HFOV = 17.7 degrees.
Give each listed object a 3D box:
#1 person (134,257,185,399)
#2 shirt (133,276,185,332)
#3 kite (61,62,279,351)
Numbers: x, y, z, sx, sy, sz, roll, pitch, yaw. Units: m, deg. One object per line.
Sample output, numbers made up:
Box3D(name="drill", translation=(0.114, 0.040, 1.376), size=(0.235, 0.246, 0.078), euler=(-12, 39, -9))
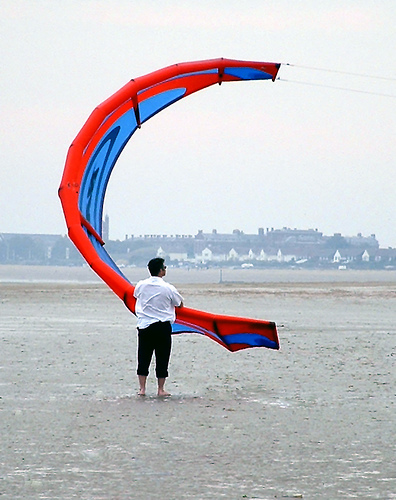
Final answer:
Box3D(name="person", translation=(-0.438, 0.831, 13.521), size=(0.496, 1.458, 0.355), euler=(1, -2, -2))
Box3D(name="shirt", translation=(-0.456, 0.560, 13.575), size=(0.486, 0.578, 0.367), euler=(7, 10, 19))
Box3D(name="kite", translation=(-0.459, -0.541, 15.118), size=(2.228, 3.419, 2.074), euler=(1, -2, 2))
